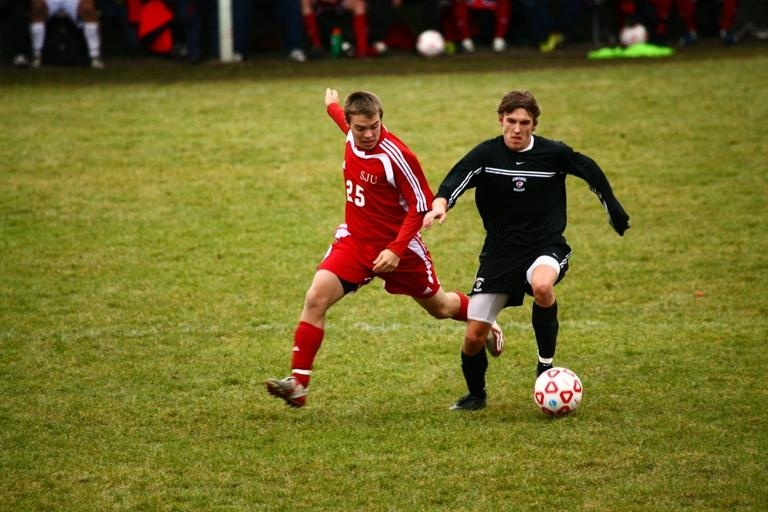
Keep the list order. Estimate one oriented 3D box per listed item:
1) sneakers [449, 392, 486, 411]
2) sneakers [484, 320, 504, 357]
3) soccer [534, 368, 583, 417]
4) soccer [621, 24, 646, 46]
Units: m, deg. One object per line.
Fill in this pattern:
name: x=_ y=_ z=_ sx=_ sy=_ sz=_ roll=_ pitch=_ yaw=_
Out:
sneakers: x=0.668 y=1.164 z=9.240 sx=0.320 sy=0.126 sz=0.112 roll=-1 pitch=2 yaw=-2
sneakers: x=0.917 y=0.694 z=9.670 sx=0.121 sy=0.150 sz=0.342 roll=9 pitch=-25 yaw=16
soccer: x=1.358 y=1.081 z=9.144 sx=0.367 sy=0.355 sz=0.368 roll=-2 pitch=8 yaw=5
soccer: x=1.998 y=-1.787 z=9.391 sx=0.166 sy=0.150 sz=0.183 roll=-16 pitch=13 yaw=-1
